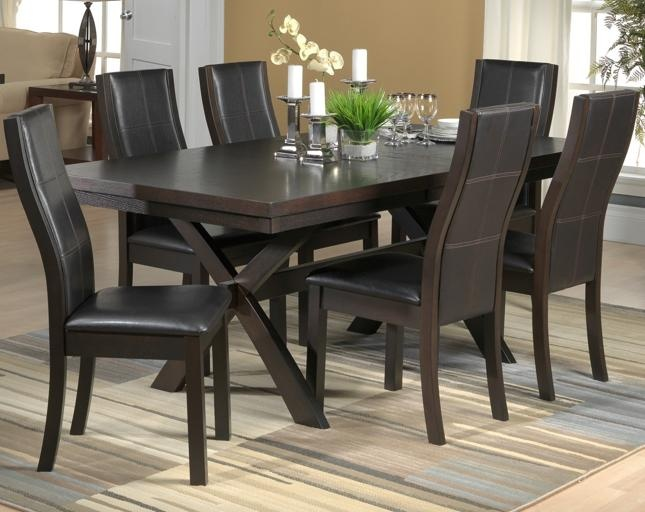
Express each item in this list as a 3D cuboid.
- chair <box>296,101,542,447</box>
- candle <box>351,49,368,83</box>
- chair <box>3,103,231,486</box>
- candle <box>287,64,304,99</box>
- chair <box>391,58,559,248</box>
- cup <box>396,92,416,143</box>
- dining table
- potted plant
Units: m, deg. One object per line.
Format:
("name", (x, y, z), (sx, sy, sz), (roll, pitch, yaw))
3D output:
("chair", (0.412, 0.059, 2.370), (0.850, 1.173, 0.746), (0, 5, 29))
("candle", (0.192, -0.972, 2.828), (0.071, 0.153, 0.106), (2, 21, 6))
("chair", (-0.655, 0.108, 1.903), (0.654, 1.188, 0.632), (-1, 21, -2))
("candle", (-0.119, -0.763, 2.436), (0.059, 0.139, 0.068), (1, 22, 5))
("chair", (1.113, -0.710, 3.375), (0.620, 1.013, 0.693), (6, 8, -8))
("cup", (0.445, -0.752, 2.982), (0.109, 0.247, 0.116), (-1, 14, 0))
("dining table", (0.080, 0.146, 2.609), (1.613, 0.691, 0.827), (0, 1, -45))
("potted plant", (0.179, -0.656, 2.721), (0.366, 0.332, 0.354), (7, 11, 38))
